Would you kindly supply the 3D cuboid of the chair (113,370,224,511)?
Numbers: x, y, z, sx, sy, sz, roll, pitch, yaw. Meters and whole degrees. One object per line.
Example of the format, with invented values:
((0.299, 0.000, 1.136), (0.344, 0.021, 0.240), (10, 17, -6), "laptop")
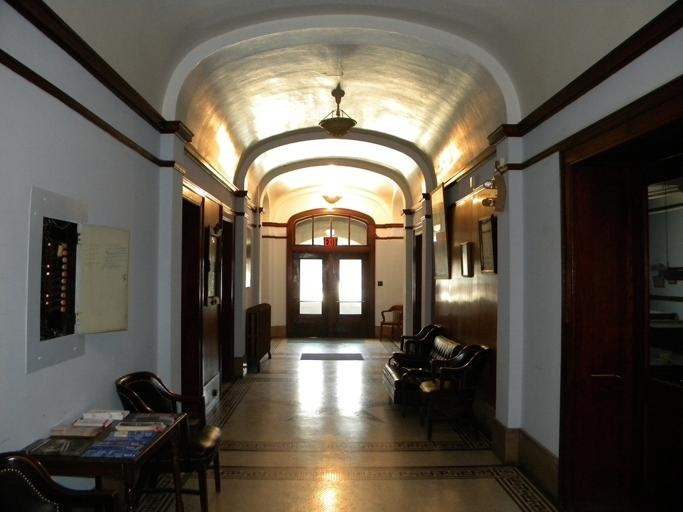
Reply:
((-1.683, 1.727, 4.812), (1.036, 1.625, 1.023), (-1, -5, 4), "chair")
